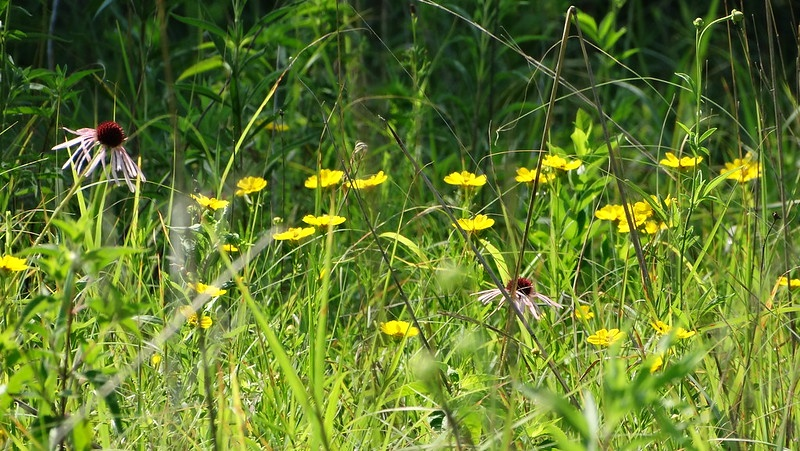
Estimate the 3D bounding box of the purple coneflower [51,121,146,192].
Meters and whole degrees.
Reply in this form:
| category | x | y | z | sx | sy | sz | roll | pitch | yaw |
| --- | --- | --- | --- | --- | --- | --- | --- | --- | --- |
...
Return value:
| category | x | y | z | sx | sy | sz | roll | pitch | yaw |
| --- | --- | --- | --- | --- | --- | --- | --- | --- | --- |
| purple coneflower | -1.242 | -0.313 | 4.306 | 0.314 | 0.219 | 0.325 | 31 | 11 | 22 |
